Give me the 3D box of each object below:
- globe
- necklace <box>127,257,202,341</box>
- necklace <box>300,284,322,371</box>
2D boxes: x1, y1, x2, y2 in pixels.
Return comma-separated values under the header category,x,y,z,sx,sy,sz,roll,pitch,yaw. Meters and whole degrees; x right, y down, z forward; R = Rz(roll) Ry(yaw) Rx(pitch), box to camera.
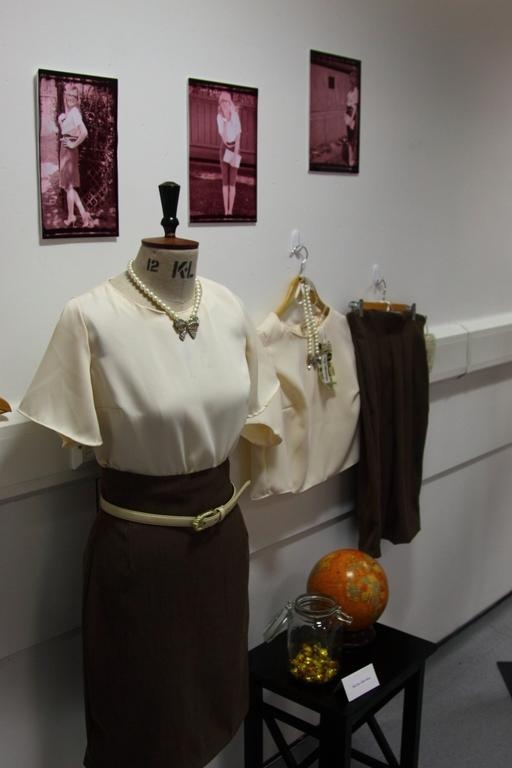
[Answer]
category,x,y,z,sx,sy,sz,roll,pitch,yaw
globe,0.232,0.504,1.405,0.161,0.267,0.185,10,11,0
necklace,-0.146,-0.141,0.937,0.129,0.117,0.104,-6,18,-20
necklace,0.146,-0.164,1.533,0.058,0.238,0.183,2,17,6
